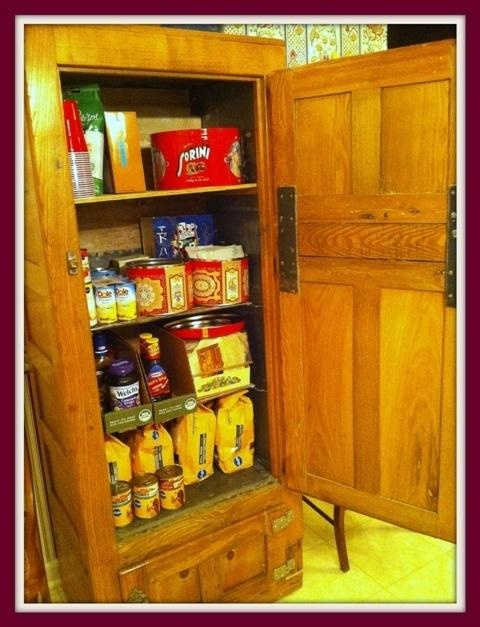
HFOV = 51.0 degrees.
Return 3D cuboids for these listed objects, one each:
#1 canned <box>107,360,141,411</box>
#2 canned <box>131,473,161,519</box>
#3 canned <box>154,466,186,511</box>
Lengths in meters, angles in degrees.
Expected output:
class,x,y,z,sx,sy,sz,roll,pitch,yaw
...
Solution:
class,x,y,z,sx,sy,sz,roll,pitch,yaw
canned,-0.355,0.230,1.526,0.098,0.165,0.098,-2,9,-4
canned,-0.303,0.596,1.621,0.107,0.099,0.105,-1,2,6
canned,-0.227,0.579,1.681,0.114,0.120,0.109,-6,5,-6
